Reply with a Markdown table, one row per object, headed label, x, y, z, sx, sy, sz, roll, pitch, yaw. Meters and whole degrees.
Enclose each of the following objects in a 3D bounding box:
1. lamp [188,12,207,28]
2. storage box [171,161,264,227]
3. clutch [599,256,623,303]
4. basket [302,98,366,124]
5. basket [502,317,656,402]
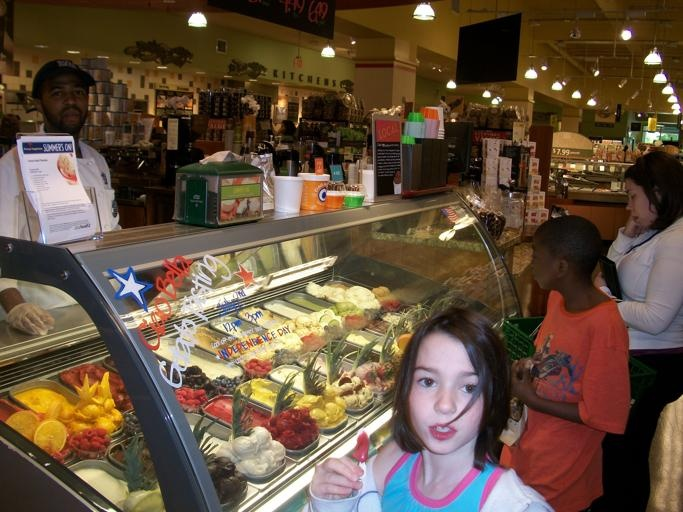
| label | x | y | z | sx | sy | sz | roll | pitch | yaw |
| --- | --- | --- | --- | --- | --- | --- | --- | --- | --- |
| lamp | -2.395 | -3.938 | 7.375 | 0.228 | 0.235 | 0.326 | -1 | 13 | -5 |
| storage box | -0.412 | -0.215 | 1.511 | 0.192 | 0.185 | 0.261 | 8 | 13 | 25 |
| clutch | 1.476 | 0.132 | 2.430 | 0.029 | 0.274 | 0.158 | -20 | 28 | 1 |
| basket | -0.239 | -2.942 | 9.054 | 0.629 | 0.342 | 0.869 | 8 | 13 | -8 |
| basket | 1.002 | 0.426 | 1.989 | 0.360 | 0.256 | 0.561 | -6 | 20 | -33 |
